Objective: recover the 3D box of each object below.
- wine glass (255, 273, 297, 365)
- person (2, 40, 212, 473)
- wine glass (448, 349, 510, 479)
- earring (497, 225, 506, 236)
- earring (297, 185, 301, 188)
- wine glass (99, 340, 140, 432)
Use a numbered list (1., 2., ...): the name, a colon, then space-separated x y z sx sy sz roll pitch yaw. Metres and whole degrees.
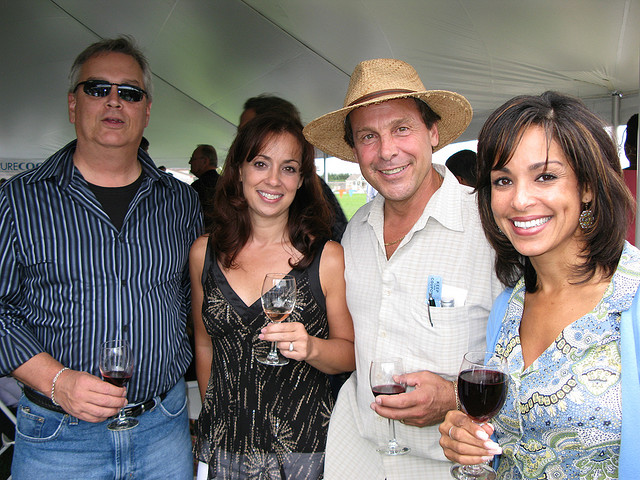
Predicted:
1. wine glass: -0.256 0.456 2.972 0.240 0.522 0.255 0 -3 -14
2. person: -1.270 0.062 3.011 1.069 2.711 0.722 0 -3 -14
3. wine glass: 0.739 0.830 2.367 0.266 0.622 0.329 -2 -3 19
4. earring: 0.881 -0.049 2.491 0.009 0.037 0.040 -32 -21 5
5. earring: -0.138 -0.341 3.260 0.020 0.019 0.020 -4 -29 7
6. wine glass: -1.101 0.792 2.810 0.181 0.499 0.231 0 -3 -19
